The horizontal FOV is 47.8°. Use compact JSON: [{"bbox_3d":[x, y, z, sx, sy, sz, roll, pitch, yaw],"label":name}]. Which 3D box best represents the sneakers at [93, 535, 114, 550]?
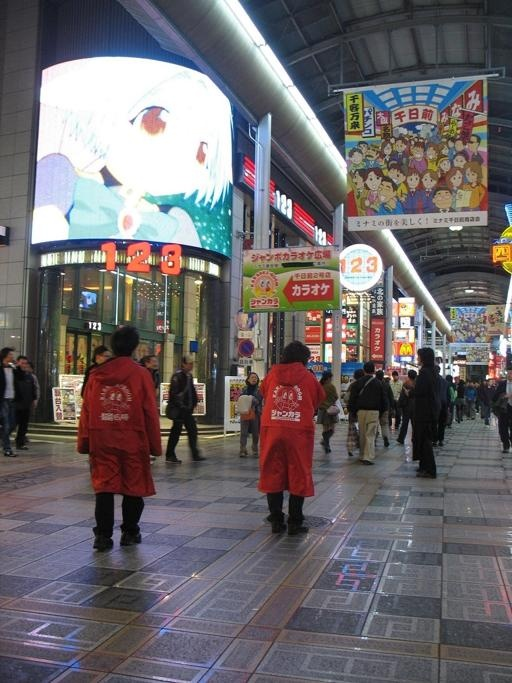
[{"bbox_3d":[-1.066,1.428,4.069,0.079,0.111,0.118,1,0,-2],"label":"sneakers"}]

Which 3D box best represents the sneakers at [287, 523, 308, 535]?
[{"bbox_3d":[0.344,1.516,4.679,0.063,0.068,0.193,2,6,36],"label":"sneakers"}]

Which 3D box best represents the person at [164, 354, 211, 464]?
[{"bbox_3d":[-1.215,1.173,10.004,0.628,1.778,1.010,0,-2,-6],"label":"person"}]

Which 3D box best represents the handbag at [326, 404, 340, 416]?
[{"bbox_3d":[1.460,1.287,10.851,0.179,0.214,0.240,-2,-5,9],"label":"handbag"}]

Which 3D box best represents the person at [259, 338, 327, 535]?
[{"bbox_3d":[0.296,0.790,4.859,0.553,1.595,0.577,0,-2,5],"label":"person"}]

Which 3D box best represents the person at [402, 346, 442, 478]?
[{"bbox_3d":[2.451,1.006,8.353,0.368,1.833,0.879,-1,-2,15],"label":"person"}]

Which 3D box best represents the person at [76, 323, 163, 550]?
[{"bbox_3d":[-0.992,0.680,4.255,0.603,1.612,0.439,0,-2,-17],"label":"person"}]

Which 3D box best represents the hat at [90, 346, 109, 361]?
[{"bbox_3d":[-2.030,0.158,7.647,0.254,0.287,0.187,2,2,-9],"label":"hat"}]

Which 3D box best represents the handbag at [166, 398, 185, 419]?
[{"bbox_3d":[-1.361,1.158,9.707,0.336,0.312,0.166,0,-2,7],"label":"handbag"}]
